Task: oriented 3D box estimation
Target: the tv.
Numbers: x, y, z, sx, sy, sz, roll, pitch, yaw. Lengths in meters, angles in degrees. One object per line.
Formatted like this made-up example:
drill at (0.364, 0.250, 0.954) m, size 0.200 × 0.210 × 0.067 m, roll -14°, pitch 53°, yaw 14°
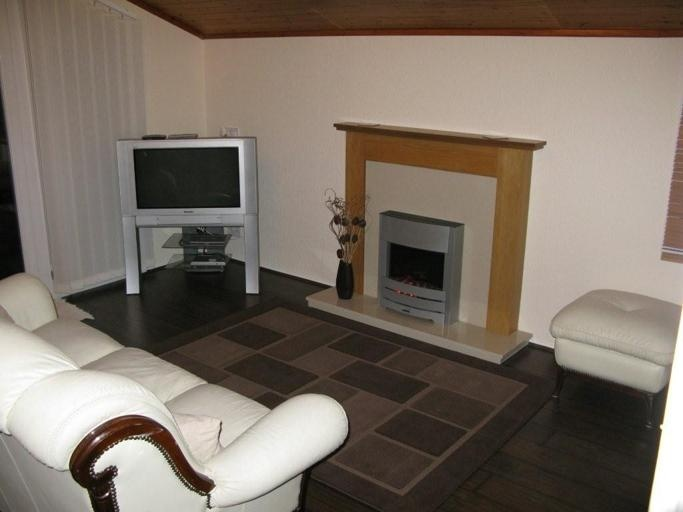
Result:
tv at (-1.537, -0.730, 5.253) m, size 1.465 × 0.936 × 0.780 m, roll -2°, pitch 11°, yaw -9°

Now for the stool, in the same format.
stool at (1.712, 0.523, 3.377) m, size 0.775 × 0.695 × 0.810 m, roll 9°, pitch 16°, yaw 37°

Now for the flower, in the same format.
flower at (0.064, -0.318, 4.977) m, size 0.521 × 0.775 × 0.313 m, roll 16°, pitch 28°, yaw 29°
